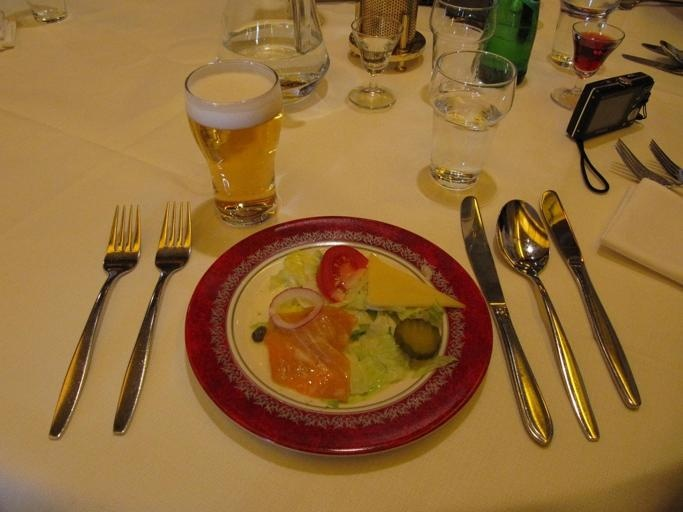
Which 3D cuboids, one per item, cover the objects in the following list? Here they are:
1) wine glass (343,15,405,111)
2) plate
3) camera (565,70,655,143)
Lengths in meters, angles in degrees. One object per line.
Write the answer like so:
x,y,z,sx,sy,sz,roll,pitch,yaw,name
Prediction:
0.110,-0.618,1.829,0.201,0.321,0.227,-10,57,-4,wine glass
-0.005,0.133,1.184,0.624,0.047,0.554,7,55,2,plate
0.752,-0.432,1.652,0.265,0.201,0.073,-13,36,-16,camera
